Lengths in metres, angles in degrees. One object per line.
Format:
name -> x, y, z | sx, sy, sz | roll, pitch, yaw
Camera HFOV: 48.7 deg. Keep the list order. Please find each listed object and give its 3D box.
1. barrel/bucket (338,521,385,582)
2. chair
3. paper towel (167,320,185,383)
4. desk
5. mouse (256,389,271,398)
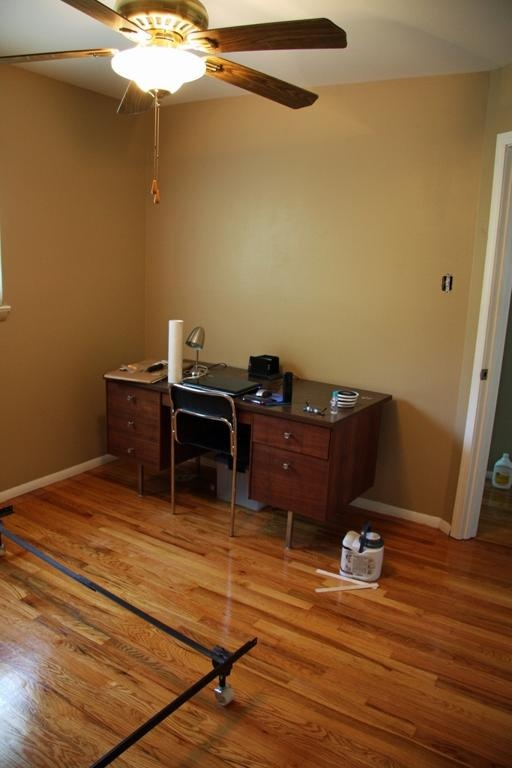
barrel/bucket -> 0.441, 0.691, 2.339 | 0.172, 0.239, 0.102 | 7, 24, 15
chair -> -0.163, 0.305, 2.885 | 0.430, 0.723, 0.484 | 6, 19, 14
paper towel -> -0.408, -0.131, 2.817 | 0.109, 0.391, 0.094 | 0, -5, -8
desk -> -0.085, 0.306, 2.936 | 1.321, 0.653, 0.629 | 10, 15, 29
mouse -> 0.034, 0.039, 2.592 | 0.040, 0.036, 0.046 | 9, 7, 42
